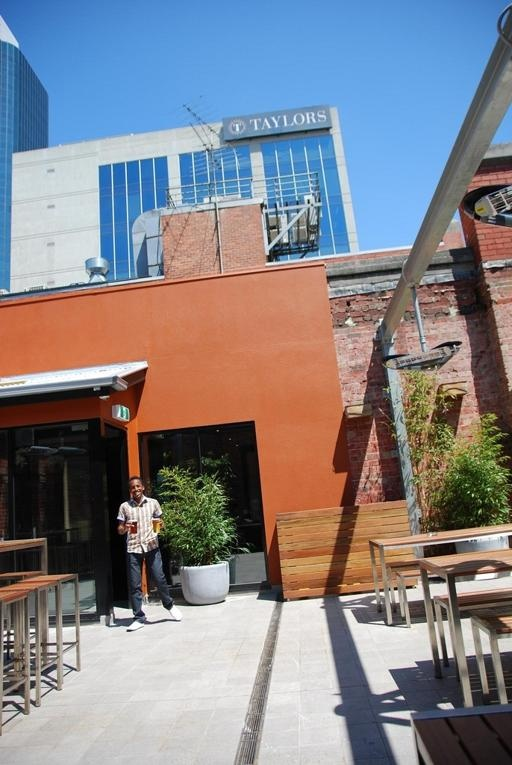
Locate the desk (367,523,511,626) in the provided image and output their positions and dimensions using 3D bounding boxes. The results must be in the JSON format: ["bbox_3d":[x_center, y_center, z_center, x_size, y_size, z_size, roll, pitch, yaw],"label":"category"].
[{"bbox_3d":[1.589,1.756,5.282,1.522,0.717,0.478,-8,17,2],"label":"desk"}]

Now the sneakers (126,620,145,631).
[{"bbox_3d":[-1.367,2.783,6.676,0.171,0.077,0.343,-8,-12,6],"label":"sneakers"}]

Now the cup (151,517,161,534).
[{"bbox_3d":[-1.199,1.736,7.054,0.109,0.186,0.158,-4,-12,-12],"label":"cup"}]

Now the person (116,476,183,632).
[{"bbox_3d":[-1.314,1.996,7.017,0.647,1.731,0.534,-3,-13,-18],"label":"person"}]

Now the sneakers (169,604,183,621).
[{"bbox_3d":[-0.958,2.745,6.963,0.143,0.162,0.386,-5,-12,-9],"label":"sneakers"}]

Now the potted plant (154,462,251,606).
[{"bbox_3d":[-0.673,2.137,7.959,0.775,1.552,0.962,-4,-15,18],"label":"potted plant"}]
